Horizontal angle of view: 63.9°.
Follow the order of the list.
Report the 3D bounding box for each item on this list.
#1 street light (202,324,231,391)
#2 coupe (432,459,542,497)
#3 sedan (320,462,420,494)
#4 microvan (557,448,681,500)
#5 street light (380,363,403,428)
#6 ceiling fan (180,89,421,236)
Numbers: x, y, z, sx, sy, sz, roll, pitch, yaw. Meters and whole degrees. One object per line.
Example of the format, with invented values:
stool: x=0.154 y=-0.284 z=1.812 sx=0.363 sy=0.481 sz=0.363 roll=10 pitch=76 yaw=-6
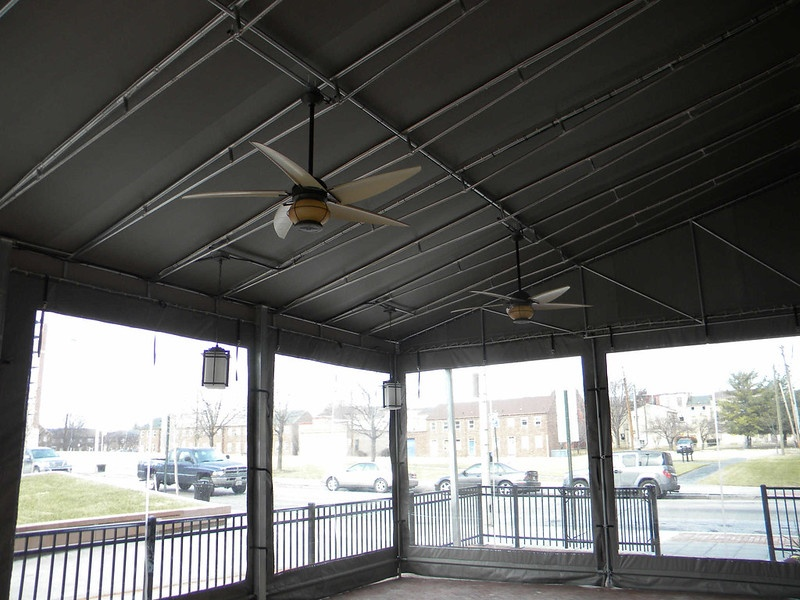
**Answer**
street light: x=-2.388 y=0.813 z=8.316 sx=0.375 sy=0.596 sz=0.367 roll=3 pitch=-7 yaw=-13
coupe: x=1.722 y=3.139 z=11.396 sx=1.490 sy=0.538 sz=0.725 roll=-3 pitch=-12 yaw=24
sedan: x=-0.669 y=3.276 z=11.829 sx=1.683 sy=0.613 sz=1.036 roll=13 pitch=-11 yaw=-43
microvan: x=3.906 y=2.731 z=10.242 sx=1.531 sy=0.670 sz=0.647 roll=-4 pitch=-8 yaw=29
street light: x=-0.106 y=1.631 z=11.294 sx=0.397 sy=1.025 sz=0.400 roll=-3 pitch=-4 yaw=7
ceiling fan: x=-0.761 y=-0.985 z=6.028 sx=1.859 sy=1.634 sz=1.599 roll=-6 pitch=-13 yaw=26
